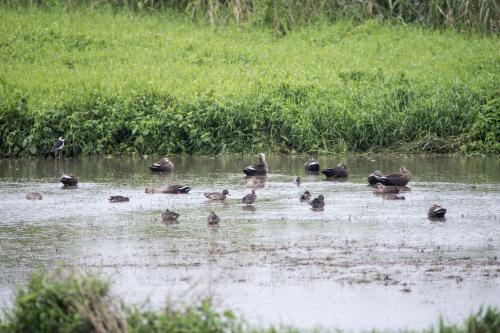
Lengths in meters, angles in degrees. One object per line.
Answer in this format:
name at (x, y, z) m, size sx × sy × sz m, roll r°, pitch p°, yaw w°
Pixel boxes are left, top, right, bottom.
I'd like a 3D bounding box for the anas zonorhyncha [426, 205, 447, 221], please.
anas zonorhyncha at (5.334, 1.312, 23.089) m, size 0.510 × 0.383 × 0.569 m, roll -1°, pitch 7°, yaw 12°
